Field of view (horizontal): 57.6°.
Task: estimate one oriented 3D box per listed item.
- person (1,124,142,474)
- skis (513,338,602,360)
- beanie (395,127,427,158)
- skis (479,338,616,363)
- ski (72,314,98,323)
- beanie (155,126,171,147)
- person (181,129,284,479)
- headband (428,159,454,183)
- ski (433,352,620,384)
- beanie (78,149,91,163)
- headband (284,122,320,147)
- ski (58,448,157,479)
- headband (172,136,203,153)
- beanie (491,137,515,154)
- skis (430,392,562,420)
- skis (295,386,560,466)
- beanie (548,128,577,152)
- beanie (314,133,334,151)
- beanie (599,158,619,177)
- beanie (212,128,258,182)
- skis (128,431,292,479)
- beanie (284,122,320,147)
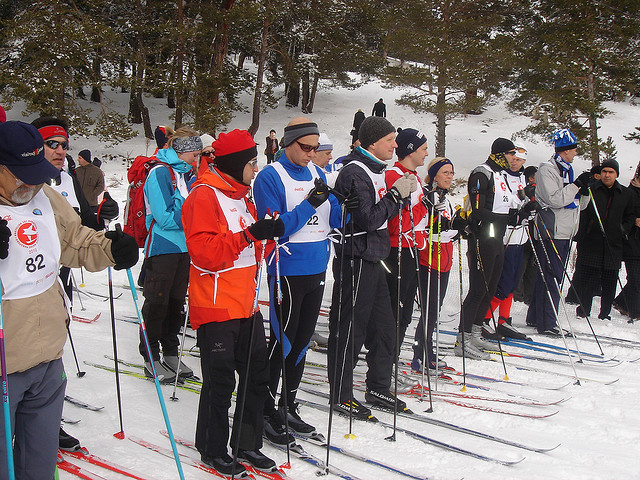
[{"bbox_3d":[-1.824,0.415,3.977,0.341,2.338,0.696,8,7,44],"label":"person"},{"bbox_3d":[3.022,1.401,7.417,0.833,0.103,0.095,11,27,15],"label":"skis"},{"bbox_3d":[0.932,-1.036,6.043,0.296,0.282,0.286,-22,17,8],"label":"beanie"},{"bbox_3d":[2.850,1.406,7.342,1.050,0.117,0.155,9,46,4],"label":"skis"},{"bbox_3d":[-3.033,1.020,7.521,0.418,0.104,0.047,7,-1,21],"label":"ski"},{"bbox_3d":[-1.826,-1.190,6.704,0.130,0.239,0.464,1,6,-26],"label":"beanie"},{"bbox_3d":[-0.703,0.485,4.636,0.801,2.731,0.596,2,5,-15],"label":"person"},{"bbox_3d":[1.365,-0.787,6.701,0.273,0.268,0.223,6,5,23],"label":"headband"},{"bbox_3d":[2.966,1.564,7.573,1.815,0.179,0.288,10,-24,-27],"label":"ski"},{"bbox_3d":[-4.482,-1.604,11.088,0.197,0.218,0.214,7,19,-25],"label":"beanie"},{"bbox_3d":[-0.132,-0.908,5.128,0.241,0.128,0.227,-10,11,-37],"label":"headband"},{"bbox_3d":[-1.705,1.793,4.648,1.039,0.079,0.121,10,18,22],"label":"ski"},{"bbox_3d":[-1.434,-1.010,6.314,0.234,0.142,0.180,1,-1,-13],"label":"headband"},{"bbox_3d":[2.301,-1.177,7.318,0.263,0.170,0.192,-26,16,-30],"label":"beanie"},{"bbox_3d":[1.741,1.677,5.836,0.711,0.070,0.218,3,18,14],"label":"skis"},{"bbox_3d":[0.967,1.737,5.357,1.522,0.088,0.285,13,14,17],"label":"skis"},{"bbox_3d":[3.455,-1.417,8.343,0.354,0.290,0.262,-16,24,17],"label":"beanie"},{"bbox_3d":[0.064,-1.094,6.595,0.231,0.228,0.330,-4,22,-12],"label":"beanie"},{"bbox_3d":[4.706,-1.186,9.437,0.283,0.268,0.785,6,5,25],"label":"beanie"},{"bbox_3d":[-0.675,-0.677,4.674,0.354,0.424,0.224,2,5,-19],"label":"beanie"},{"bbox_3d":[-0.892,1.751,4.698,0.838,0.038,0.230,18,6,14],"label":"skis"},{"bbox_3d":[-0.175,-0.932,5.136,0.241,0.124,0.227,0,8,14],"label":"beanie"}]
